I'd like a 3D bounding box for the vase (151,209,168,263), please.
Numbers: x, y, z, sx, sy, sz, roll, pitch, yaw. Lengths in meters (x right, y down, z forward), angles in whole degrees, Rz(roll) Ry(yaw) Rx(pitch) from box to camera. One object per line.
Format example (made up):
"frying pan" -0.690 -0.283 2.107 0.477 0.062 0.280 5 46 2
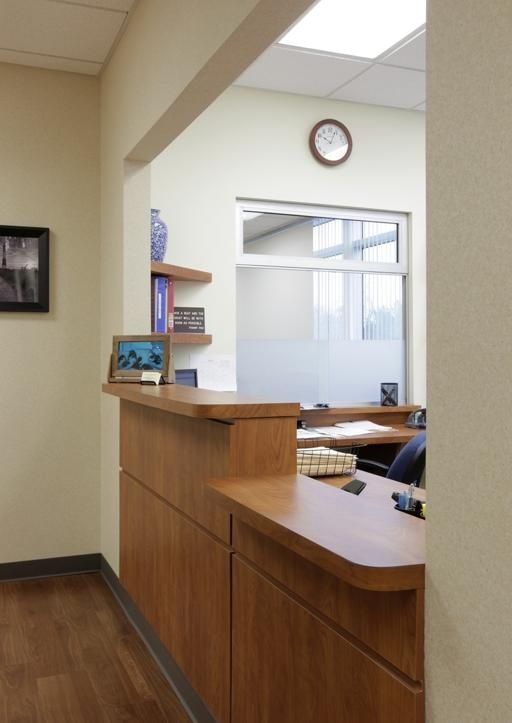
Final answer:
"vase" -0.583 -0.747 3.466 0.086 0.328 0.108 1 -1 -14

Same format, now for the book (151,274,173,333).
"book" -0.587 -0.356 3.553 0.109 0.371 0.302 0 -1 7

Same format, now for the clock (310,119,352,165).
"clock" 0.530 -1.613 4.269 0.306 0.347 0.034 2 -2 -27

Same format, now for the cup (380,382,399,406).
"cup" 1.035 0.259 4.536 0.141 0.240 0.154 0 1 0

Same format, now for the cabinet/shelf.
"cabinet/shelf" -0.392 -0.373 3.869 0.476 0.464 0.169 8 13 43
